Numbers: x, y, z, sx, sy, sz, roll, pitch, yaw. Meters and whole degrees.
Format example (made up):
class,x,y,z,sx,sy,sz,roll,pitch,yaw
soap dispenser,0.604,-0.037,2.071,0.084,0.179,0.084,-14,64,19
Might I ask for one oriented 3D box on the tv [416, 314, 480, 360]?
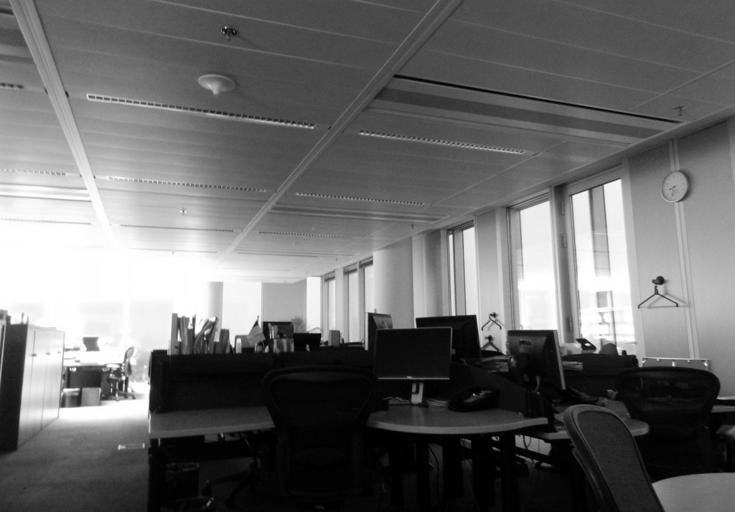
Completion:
class,x,y,z,sx,sy,sz,roll,pitch,yaw
tv,0.750,0.773,5.321,0.409,0.318,0.131,-6,-13,35

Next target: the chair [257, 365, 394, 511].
class,x,y,z,sx,sy,sz,roll,pitch,yaw
chair,-0.348,1.356,4.510,0.994,1.343,1.045,0,-5,-3

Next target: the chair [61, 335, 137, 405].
class,x,y,z,sx,sy,sz,roll,pitch,yaw
chair,-5.818,2.423,12.037,1.601,0.891,1.545,5,-9,-40

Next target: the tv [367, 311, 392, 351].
class,x,y,z,sx,sy,sz,roll,pitch,yaw
tv,0.101,0.750,5.592,0.056,0.274,0.490,-5,-8,29

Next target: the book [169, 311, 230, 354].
class,x,y,z,sx,sy,sz,roll,pitch,yaw
book,-1.526,0.690,5.187,0.435,0.465,0.410,6,-9,-39

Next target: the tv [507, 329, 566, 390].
class,x,y,z,sx,sy,sz,roll,pitch,yaw
tv,1.410,0.894,4.820,0.203,0.358,0.535,-5,-1,-27

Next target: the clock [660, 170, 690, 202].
class,x,y,z,sx,sy,sz,roll,pitch,yaw
clock,3.763,-0.863,6.953,0.072,0.451,0.414,2,-5,-16

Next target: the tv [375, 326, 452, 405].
class,x,y,z,sx,sy,sz,roll,pitch,yaw
tv,0.416,0.982,5.117,0.743,0.598,0.204,-2,-17,15

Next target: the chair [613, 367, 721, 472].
class,x,y,z,sx,sy,sz,roll,pitch,yaw
chair,2.617,1.409,5.153,0.922,1.184,0.922,-3,-6,21
